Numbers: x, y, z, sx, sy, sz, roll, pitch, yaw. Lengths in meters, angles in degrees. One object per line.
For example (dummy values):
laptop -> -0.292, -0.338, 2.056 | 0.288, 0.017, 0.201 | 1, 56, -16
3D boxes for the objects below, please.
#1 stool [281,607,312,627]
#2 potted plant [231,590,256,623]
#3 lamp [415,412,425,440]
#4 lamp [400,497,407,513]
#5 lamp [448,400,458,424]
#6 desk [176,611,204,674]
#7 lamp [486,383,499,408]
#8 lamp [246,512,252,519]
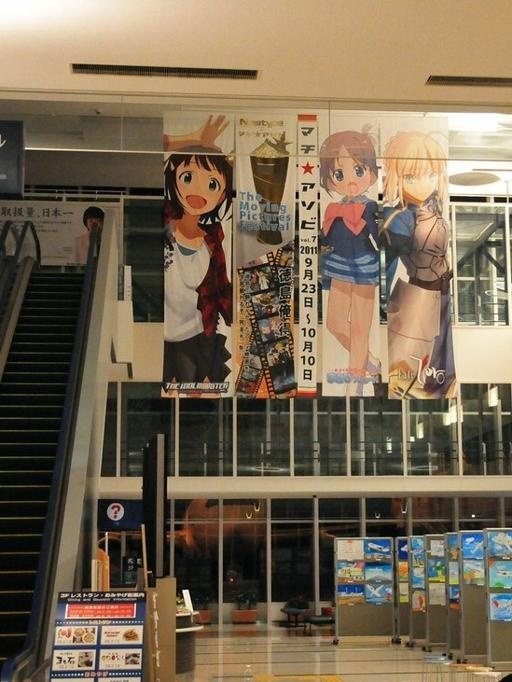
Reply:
stool -> 0.786, 5.402, 16.148 | 0.481, 0.459, 0.454 | 1, -29, 0
potted plant -> -0.205, 5.250, 16.288 | 0.529, 0.634, 0.283 | 3, -17, -12
lamp -> 3.367, 1.766, 17.042 | 0.167, 0.523, 0.066 | -4, -17, 10
lamp -> 3.078, 3.472, 17.275 | 0.149, 0.298, 0.072 | -3, -17, 9
lamp -> 4.045, 1.466, 17.042 | 0.193, 0.484, 0.069 | -6, -17, 18
desk -> -0.864, 3.858, 10.590 | 0.275, 0.725, 0.919 | 0, -16, -4
lamp -> 4.898, 1.155, 17.138 | 0.238, 0.468, 0.053 | -4, -17, 10
lamp -> -0.108, 3.595, 16.990 | 0.135, 0.124, 0.032 | 3, -12, -2
